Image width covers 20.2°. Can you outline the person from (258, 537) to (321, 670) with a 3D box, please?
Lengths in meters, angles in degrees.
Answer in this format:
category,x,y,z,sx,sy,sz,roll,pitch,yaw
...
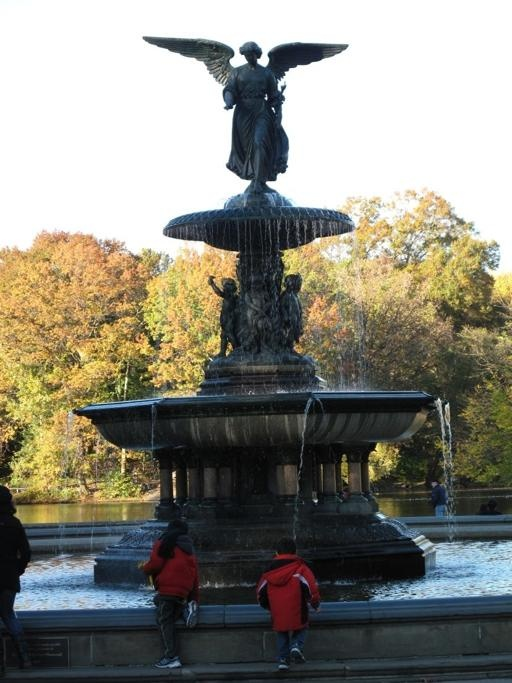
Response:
category,x,y,z,sx,sy,sz,roll,pitch,yaw
person,0.202,1.832,9.622,0.400,0.759,0.262,-2,-4,-1

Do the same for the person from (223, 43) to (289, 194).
category,x,y,z,sx,sy,sz,roll,pitch,yaw
person,-0.035,-2.468,15.871,0.679,1.583,0.491,-2,-4,0

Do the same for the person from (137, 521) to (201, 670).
category,x,y,z,sx,sy,sz,roll,pitch,yaw
person,-0.601,1.764,9.974,0.360,0.964,0.621,-1,-4,-6

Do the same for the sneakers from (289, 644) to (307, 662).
category,x,y,z,sx,sy,sz,roll,pitch,yaw
sneakers,0.257,2.088,9.540,0.053,0.077,0.166,-3,-25,13

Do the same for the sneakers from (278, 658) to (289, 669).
category,x,y,z,sx,sy,sz,roll,pitch,yaw
sneakers,0.167,2.156,9.527,0.045,0.058,0.130,0,-15,1

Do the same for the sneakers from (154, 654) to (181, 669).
category,x,y,z,sx,sy,sz,roll,pitch,yaw
sneakers,-0.608,2.192,9.723,0.172,0.093,0.067,0,-15,5

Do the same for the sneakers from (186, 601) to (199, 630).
category,x,y,z,sx,sy,sz,roll,pitch,yaw
sneakers,-0.438,1.900,9.844,0.074,0.174,0.065,-5,-13,44

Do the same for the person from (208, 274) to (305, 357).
category,x,y,z,sx,sy,sz,roll,pitch,yaw
person,-0.027,-0.257,15.675,0.957,0.908,0.784,-2,-4,-2

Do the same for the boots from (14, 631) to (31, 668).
category,x,y,z,sx,sy,sz,roll,pitch,yaw
boots,-1.618,2.150,9.924,0.115,0.258,0.115,-1,-4,-6
